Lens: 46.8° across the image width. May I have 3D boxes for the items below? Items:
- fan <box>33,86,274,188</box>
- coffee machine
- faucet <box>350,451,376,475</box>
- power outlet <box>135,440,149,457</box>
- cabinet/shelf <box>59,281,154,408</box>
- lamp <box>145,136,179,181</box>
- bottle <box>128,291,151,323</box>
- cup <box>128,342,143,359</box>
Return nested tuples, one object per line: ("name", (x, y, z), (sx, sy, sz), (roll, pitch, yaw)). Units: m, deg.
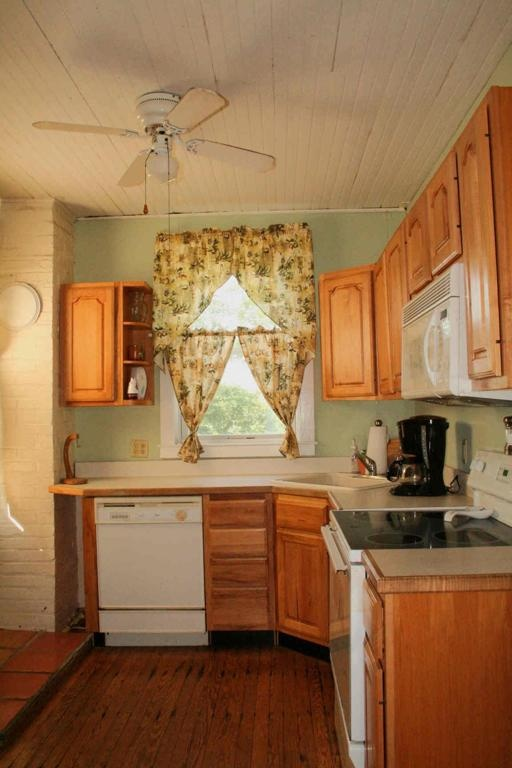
("fan", (-0.276, -0.862, 2.045), (0.533, 0.165, 0.542), (1, -4, 8))
("coffee machine", (0.694, 0.301, 2.523), (0.243, 0.340, 0.225), (-1, 1, 32))
("faucet", (0.555, 0.417, 3.110), (0.098, 0.071, 0.159), (5, -16, -27))
("power outlet", (-0.698, 0.395, 3.586), (0.094, 0.105, 0.011), (0, -4, 0))
("cabinet/shelf", (-0.861, -0.224, 3.415), (0.547, 0.705, 0.279), (-2, -1, -17))
("lamp", (-0.326, -0.830, 2.195), (0.127, 0.130, 0.120), (11, 25, 17))
("bottle", (-0.688, -0.446, 3.505), (0.165, 0.221, 0.166), (-1, -9, 0))
("cup", (-0.700, -0.190, 3.436), (0.086, 0.094, 0.083), (0, -5, 0))
